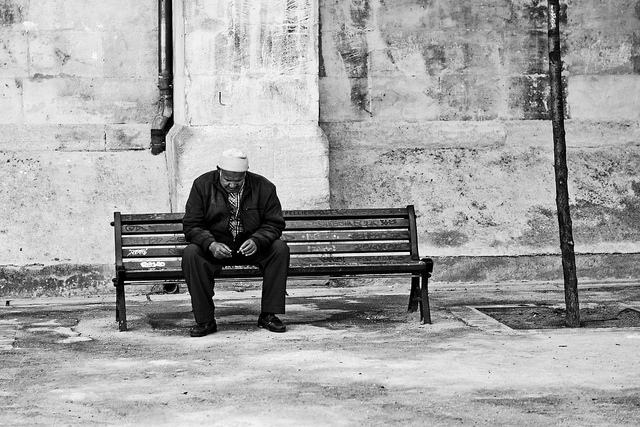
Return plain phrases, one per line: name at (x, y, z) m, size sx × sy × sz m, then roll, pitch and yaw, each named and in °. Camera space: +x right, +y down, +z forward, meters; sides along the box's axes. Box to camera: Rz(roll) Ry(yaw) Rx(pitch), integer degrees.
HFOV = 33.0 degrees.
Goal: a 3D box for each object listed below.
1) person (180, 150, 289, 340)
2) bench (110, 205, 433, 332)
person at (-0.885, 0.292, 11.007) m, size 1.047 × 1.818 × 0.790 m, roll -3°, pitch 12°, yaw -4°
bench at (-0.571, 0.567, 11.452) m, size 3.224 × 1.071 × 0.865 m, roll -1°, pitch 13°, yaw -11°
